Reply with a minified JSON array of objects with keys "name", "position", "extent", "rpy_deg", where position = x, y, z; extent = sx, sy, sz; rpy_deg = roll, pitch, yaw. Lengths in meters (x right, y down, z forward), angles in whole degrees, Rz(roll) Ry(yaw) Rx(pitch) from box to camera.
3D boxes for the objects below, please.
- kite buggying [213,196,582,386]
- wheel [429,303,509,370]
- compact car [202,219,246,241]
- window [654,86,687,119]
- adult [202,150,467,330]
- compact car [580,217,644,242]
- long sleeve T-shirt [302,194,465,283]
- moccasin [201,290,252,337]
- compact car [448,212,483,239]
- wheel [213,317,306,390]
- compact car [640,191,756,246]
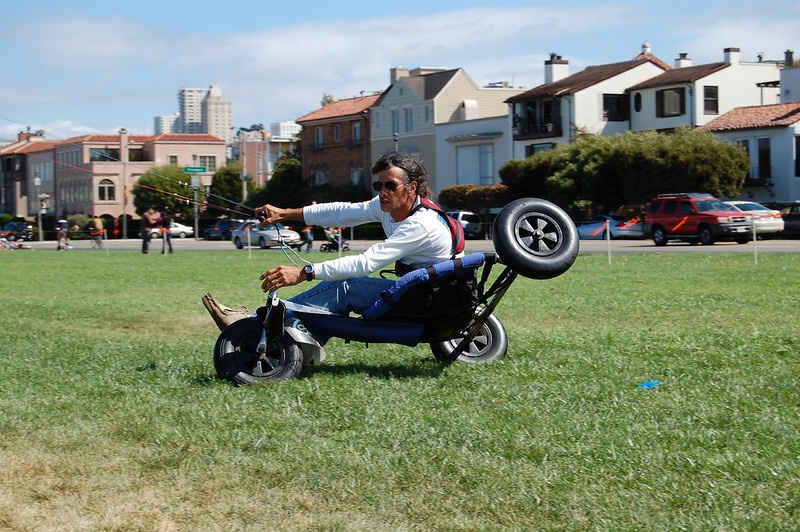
[{"name":"kite buggying","position":[0.143,0.396,10.899],"extent":[3.835,1.432,2.196],"rpy_deg":[-5,-14,13]},{"name":"wheel","position":[0.625,0.690,11.045],"extent":[0.936,0.701,0.273],"rpy_deg":[0,-24,-34]},{"name":"compact car","position":[-9.989,-2.105,61.127],"extent":[1.609,0.885,3.310],"rpy_deg":[-4,7,-44]},{"name":"window","position":[14.436,-8.776,57.089],"extent":[0.438,1.557,2.432],"rpy_deg":[-13,12,-41]},{"name":"adult","position":[-0.630,-0.221,10.263],"extent":[2.862,1.272,1.411],"rpy_deg":[-11,20,-8]},{"name":"compact car","position":[8.404,-1.439,42.548],"extent":[2.717,0.640,1.548],"rpy_deg":[6,8,39]},{"name":"long sleeve T-shirt","position":[-0.179,-0.256,9.937],"extent":[1.403,0.365,0.869],"rpy_deg":[-3,35,-17]},{"name":"moccasin","position":[-1.788,0.451,10.758],"extent":[0.534,0.170,0.474],"rpy_deg":[22,5,-13]},{"name":"compact car","position":[3.530,-1.980,53.701],"extent":[1.948,1.104,2.950],"rpy_deg":[-3,12,-15]},{"name":"wheel","position":[-1.380,0.819,10.051],"extent":[0.936,0.660,0.298],"rpy_deg":[6,-5,-23]},{"name":"compact car","position":[9.647,-1.538,35.422],"extent":[1.729,1.638,3.639],"rpy_deg":[-2,4,-21]}]
